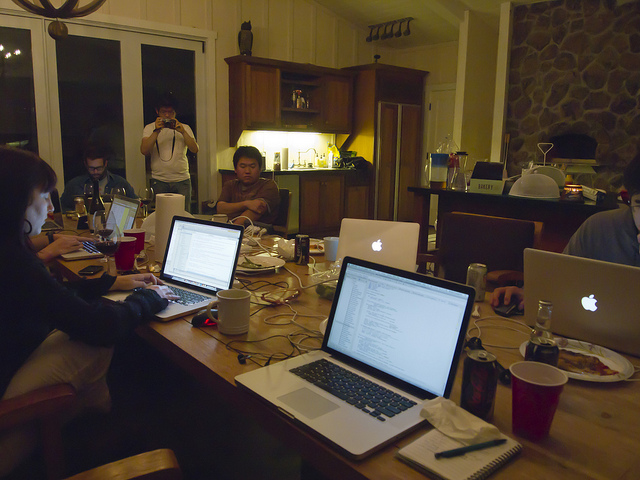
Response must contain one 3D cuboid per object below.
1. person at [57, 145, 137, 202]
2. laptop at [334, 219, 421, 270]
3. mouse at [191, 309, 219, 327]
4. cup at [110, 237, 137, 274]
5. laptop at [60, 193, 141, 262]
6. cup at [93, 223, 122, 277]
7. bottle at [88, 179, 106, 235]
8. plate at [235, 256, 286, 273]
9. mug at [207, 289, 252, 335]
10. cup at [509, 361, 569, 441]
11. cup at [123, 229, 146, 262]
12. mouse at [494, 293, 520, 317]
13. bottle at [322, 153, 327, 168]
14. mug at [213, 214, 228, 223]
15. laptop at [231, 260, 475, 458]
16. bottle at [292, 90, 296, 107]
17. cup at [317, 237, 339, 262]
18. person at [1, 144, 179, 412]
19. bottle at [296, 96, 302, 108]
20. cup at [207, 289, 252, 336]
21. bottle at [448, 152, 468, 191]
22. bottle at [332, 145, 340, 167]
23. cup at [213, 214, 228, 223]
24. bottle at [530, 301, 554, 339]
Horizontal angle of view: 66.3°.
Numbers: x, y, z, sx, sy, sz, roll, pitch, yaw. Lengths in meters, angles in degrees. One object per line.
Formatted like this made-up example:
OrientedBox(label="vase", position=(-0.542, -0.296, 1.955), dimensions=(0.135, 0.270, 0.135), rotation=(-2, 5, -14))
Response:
OrientedBox(label="person", position=(-2.124, -0.635, 4.584), dimensions=(0.695, 0.613, 0.387), rotation=(-8, 24, -28))
OrientedBox(label="laptop", position=(0.261, -0.019, 2.230), dimensions=(0.347, 0.244, 0.261), rotation=(5, 27, 7))
OrientedBox(label="mouse", position=(-0.421, 0.284, 1.801), dimensions=(0.054, 0.037, 0.100), rotation=(-2, -5, 38))
OrientedBox(label="cup", position=(-0.953, 0.075, 2.377), dimensions=(0.120, 0.158, 0.117), rotation=(2, 9, 0))
OrientedBox(label="laptop", position=(-1.339, -0.104, 2.937), dimensions=(0.445, 0.330, 0.503), rotation=(-1, 12, -31))
OrientedBox(label="cup", position=(-0.988, 0.066, 2.295), dimensions=(0.117, 0.292, 0.116), rotation=(-4, -3, 0))
OrientedBox(label="bottle", position=(-1.468, -0.225, 3.232), dimensions=(0.106, 0.381, 0.110), rotation=(-1, 2, 0))
OrientedBox(label="plate", position=(-0.292, 0.114, 2.431), dimensions=(0.224, 0.056, 0.212), rotation=(2, 10, -10))
OrientedBox(label="mug", position=(-0.302, 0.246, 1.815), dimensions=(0.177, 0.160, 0.112), rotation=(-11, 19, -39))
OrientedBox(label="cup", position=(0.556, 0.426, 1.301), dimensions=(0.151, 0.172, 0.144), rotation=(-1, 7, 0))
OrientedBox(label="cup", position=(-0.955, 0.029, 2.520), dimensions=(0.130, 0.189, 0.125), rotation=(2, 14, 0))
OrientedBox(label="mouse", position=(0.751, 0.261, 1.972), dimensions=(0.088, 0.056, 0.147), rotation=(9, 11, 28))
OrientedBox(label="bottle", position=(0.073, -1.167, 7.197), dimensions=(0.070, 0.197, 0.114), rotation=(3, 10, -2))
OrientedBox(label="mug", position=(-0.592, -0.125, 2.918), dimensions=(0.060, 0.069, 0.075), rotation=(0, -3, 33))
OrientedBox(label="laptop", position=(0.092, 0.299, 1.393), dimensions=(0.532, 0.384, 0.396), rotation=(12, 12, 39))
OrientedBox(label="bottle", position=(-0.346, -1.885, 6.553), dimensions=(0.034, 0.206, 0.078), rotation=(-5, 12, -39))
OrientedBox(label="cup", position=(0.048, 0.051, 2.523), dimensions=(0.074, 0.107, 0.114), rotation=(-2, 5, -22))
OrientedBox(label="person", position=(-0.855, 0.201, 1.791), dimensions=(0.508, 1.035, 0.330), rotation=(0, 10, -18))
OrientedBox(label="bottle", position=(-0.278, -1.836, 6.529), dimensions=(0.055, 0.144, 0.056), rotation=(3, 10, -1))
OrientedBox(label="cup", position=(-0.336, 0.267, 1.752), dimensions=(0.178, 0.140, 0.115), rotation=(-5, 12, -43))
OrientedBox(label="bottle", position=(1.245, -0.583, 4.389), dimensions=(0.163, 0.353, 0.161), rotation=(7, -13, 2))
OrientedBox(label="bottle", position=(0.233, -1.215, 7.193), dimensions=(0.109, 0.283, 0.223), rotation=(3, 10, -1))
OrientedBox(label="cup", position=(-0.596, -0.119, 2.915), dimensions=(0.062, 0.075, 0.081), rotation=(1, -1, 15))
OrientedBox(label="bottle", position=(0.707, 0.245, 1.545), dimensions=(0.058, 0.113, 0.139), rotation=(8, 11, 27))
